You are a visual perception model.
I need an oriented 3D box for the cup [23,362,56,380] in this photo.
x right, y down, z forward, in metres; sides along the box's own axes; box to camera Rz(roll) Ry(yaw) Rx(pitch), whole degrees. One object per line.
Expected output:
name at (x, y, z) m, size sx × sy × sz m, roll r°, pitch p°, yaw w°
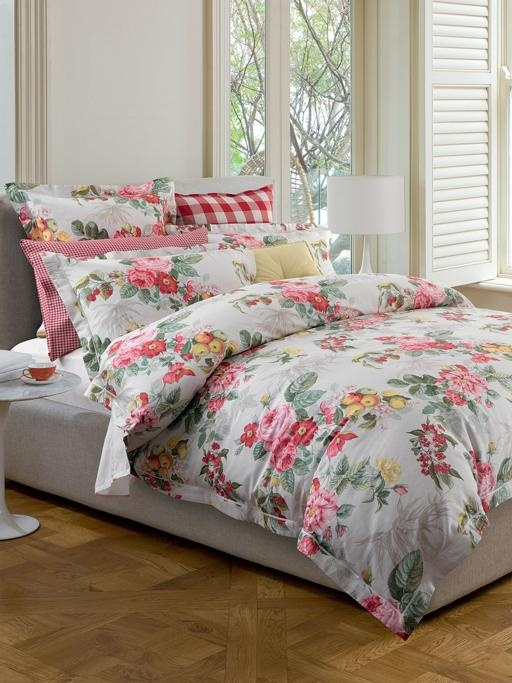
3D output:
cup at (-0.614, 0.079, 1.712) m, size 0.069 × 0.029 × 0.053 m, roll -1°, pitch 10°, yaw 3°

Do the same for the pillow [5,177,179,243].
pillow at (-0.647, -0.506, 2.364) m, size 0.404 × 0.235 × 0.096 m, roll -5°, pitch -27°, yaw -25°

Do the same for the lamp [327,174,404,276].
lamp at (0.630, -0.608, 3.441) m, size 0.455 × 0.627 × 0.424 m, roll -6°, pitch 16°, yaw -12°

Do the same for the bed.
bed at (-0.110, 0.065, 1.844) m, size 1.682 × 0.515 × 0.985 m, roll 9°, pitch 13°, yaw 39°
